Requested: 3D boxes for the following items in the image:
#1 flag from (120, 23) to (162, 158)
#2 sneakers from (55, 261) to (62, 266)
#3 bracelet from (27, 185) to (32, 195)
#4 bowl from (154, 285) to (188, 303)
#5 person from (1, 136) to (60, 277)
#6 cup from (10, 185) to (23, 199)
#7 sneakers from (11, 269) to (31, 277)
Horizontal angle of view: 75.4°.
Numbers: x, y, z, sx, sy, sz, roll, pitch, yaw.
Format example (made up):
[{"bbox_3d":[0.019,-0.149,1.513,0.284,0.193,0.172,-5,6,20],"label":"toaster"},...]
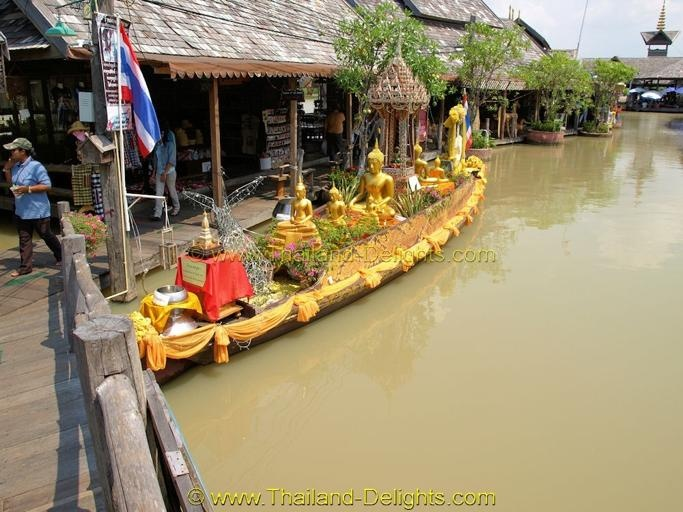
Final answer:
[{"bbox_3d":[-2.744,-2.230,5.899,0.376,1.732,0.466,-11,17,-21],"label":"flag"},{"bbox_3d":[-4.253,0.120,6.616,0.095,0.049,0.147,-2,12,-27],"label":"sneakers"},{"bbox_3d":[-4.207,-0.894,5.941,0.058,0.098,0.059,-16,19,-34],"label":"bracelet"},{"bbox_3d":[-1.797,0.410,4.630,0.212,0.090,0.219,4,15,-1],"label":"bowl"},{"bbox_3d":[-4.336,-0.675,6.120,0.642,1.849,0.432,-12,17,-26],"label":"person"},{"bbox_3d":[-4.351,-0.860,5.927,0.108,0.181,0.196,-17,20,-36],"label":"cup"},{"bbox_3d":[-4.551,0.247,6.234,0.099,0.108,0.287,-1,-5,12],"label":"sneakers"}]
